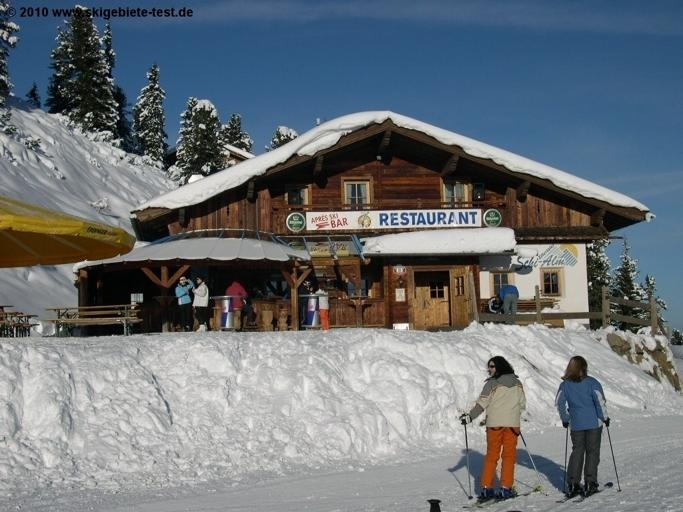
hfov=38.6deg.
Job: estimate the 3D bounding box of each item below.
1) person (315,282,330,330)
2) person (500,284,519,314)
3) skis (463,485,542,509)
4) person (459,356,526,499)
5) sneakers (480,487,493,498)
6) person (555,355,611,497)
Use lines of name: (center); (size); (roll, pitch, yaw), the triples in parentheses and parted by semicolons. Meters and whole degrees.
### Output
person: (-0.735, 1.916, 35.142); (0.427, 1.475, 0.991); (1, -8, 2)
person: (6.235, 1.634, 36.687); (0.653, 1.177, 1.395); (0, -8, 9)
skis: (4.030, 6.047, 24.456); (1.177, 0.167, 0.254); (-13, 3, -12)
person: (3.973, 4.328, 24.583); (1.164, 3.608, 0.395); (0, -8, 8)
sneakers: (3.623, 5.921, 24.454); (0.281, 0.294, 0.194); (1, -3, -16)
person: (6.026, 4.272, 24.563); (1.189, 3.496, 0.415); (-1, -8, 14)
